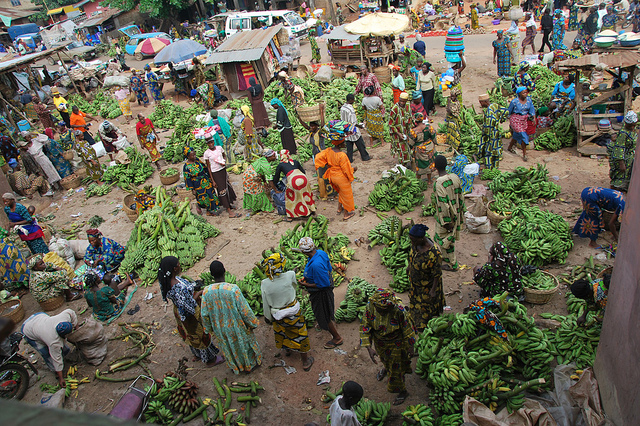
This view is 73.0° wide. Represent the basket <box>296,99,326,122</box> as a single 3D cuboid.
[{"bbox_3d":[-0.236,-3.539,15.137,0.830,0.412,0.915,-2,25,23],"label":"basket"}]

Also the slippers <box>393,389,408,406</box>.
[{"bbox_3d":[1.580,3.628,8.465,0.170,0.145,0.423,-4,11,22],"label":"slippers"}]

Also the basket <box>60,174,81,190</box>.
[{"bbox_3d":[-9.491,-1.214,16.456,0.606,0.355,0.580,-14,39,-16],"label":"basket"}]

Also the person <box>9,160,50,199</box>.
[{"bbox_3d":[-10.738,-1.213,16.069,1.063,1.331,0.912,-24,35,-21],"label":"person"}]

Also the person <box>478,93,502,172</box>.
[{"bbox_3d":[5.024,-2.340,12.683,0.718,2.189,0.736,4,31,21],"label":"person"}]

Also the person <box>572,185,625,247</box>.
[{"bbox_3d":[6.565,0.118,10.138,1.118,1.242,0.873,-6,41,4],"label":"person"}]

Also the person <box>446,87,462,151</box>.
[{"bbox_3d":[4.189,-2.899,13.500,0.418,1.969,0.428,1,31,16],"label":"person"}]

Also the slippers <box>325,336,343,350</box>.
[{"bbox_3d":[0.303,2.843,9.421,0.354,0.117,0.189,-8,34,-11],"label":"slippers"}]

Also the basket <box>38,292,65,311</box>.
[{"bbox_3d":[-7.023,2.378,11.431,0.473,0.417,0.459,6,28,11],"label":"basket"}]

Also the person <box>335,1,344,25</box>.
[{"bbox_3d":[1.498,-15.085,32.678,0.582,1.414,1.509,-5,29,5],"label":"person"}]

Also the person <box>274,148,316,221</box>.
[{"bbox_3d":[-0.713,-0.781,12.297,1.025,1.936,0.566,3,31,19],"label":"person"}]

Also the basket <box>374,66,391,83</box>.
[{"bbox_3d":[2.967,-6.458,20.195,0.788,0.752,0.751,-5,44,4],"label":"basket"}]

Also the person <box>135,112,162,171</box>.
[{"bbox_3d":[-6.424,-2.737,16.221,0.647,2.179,0.985,-19,31,-18],"label":"person"}]

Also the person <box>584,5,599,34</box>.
[{"bbox_3d":[12.419,-8.775,19.762,0.602,0.980,1.189,10,33,30],"label":"person"}]

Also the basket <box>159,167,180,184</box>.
[{"bbox_3d":[-5.280,-1.294,15.244,0.656,0.434,0.507,-25,33,-29],"label":"basket"}]

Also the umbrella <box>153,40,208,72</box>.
[{"bbox_3d":[-6.798,-7.772,20.878,1.947,0.624,1.882,-34,31,-26],"label":"umbrella"}]

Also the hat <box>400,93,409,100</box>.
[{"bbox_3d":[2.487,-3.465,12.795,0.174,0.182,0.248,15,15,34],"label":"hat"}]

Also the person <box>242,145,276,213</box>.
[{"bbox_3d":[-1.894,-0.995,13.482,1.349,2.092,1.017,-14,61,-23],"label":"person"}]

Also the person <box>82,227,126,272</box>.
[{"bbox_3d":[-5.969,0.993,11.855,1.016,1.301,0.484,-24,33,-26],"label":"person"}]

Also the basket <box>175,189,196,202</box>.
[{"bbox_3d":[-4.343,-0.579,13.982,0.501,0.418,0.479,11,53,9],"label":"basket"}]

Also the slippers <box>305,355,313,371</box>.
[{"bbox_3d":[-0.224,3.206,9.203,0.122,0.120,0.290,13,38,24],"label":"slippers"}]

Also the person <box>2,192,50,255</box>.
[{"bbox_3d":[-8.477,0.341,12.389,0.625,1.974,0.536,-24,33,-26],"label":"person"}]

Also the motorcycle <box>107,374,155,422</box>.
[{"bbox_3d":[-3.715,3.869,8.677,0.506,0.516,0.686,10,33,29],"label":"motorcycle"}]

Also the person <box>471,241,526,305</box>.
[{"bbox_3d":[3.866,1.328,9.263,0.666,1.168,0.857,-25,46,-11],"label":"person"}]

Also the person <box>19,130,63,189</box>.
[{"bbox_3d":[-10.248,-1.956,16.182,0.551,2.236,0.659,-5,29,6],"label":"person"}]

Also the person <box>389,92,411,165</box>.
[{"bbox_3d":[2.474,-2.527,13.176,0.676,2.193,0.427,-2,30,12],"label":"person"}]

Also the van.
[{"bbox_3d":[-3.495,-12.565,28.974,5.225,1.770,2.448,-4,28,7],"label":"van"}]

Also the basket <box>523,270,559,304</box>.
[{"bbox_3d":[4.752,1.677,9.387,0.584,0.247,0.635,-18,38,-16],"label":"basket"}]

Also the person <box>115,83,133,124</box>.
[{"bbox_3d":[-9.955,-5.540,21.985,0.504,1.509,1.725,-20,31,-20],"label":"person"}]

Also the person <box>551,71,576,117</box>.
[{"bbox_3d":[8.042,-3.867,14.283,0.670,1.316,0.793,6,32,24],"label":"person"}]

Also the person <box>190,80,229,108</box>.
[{"bbox_3d":[-5.273,-5.614,20.505,1.648,1.089,1.193,-17,26,23],"label":"person"}]

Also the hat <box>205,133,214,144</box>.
[{"bbox_3d":[-3.260,-2.186,12.703,0.205,0.254,0.261,-13,29,-10],"label":"hat"}]

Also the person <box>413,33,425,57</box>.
[{"bbox_3d":[4.644,-7.844,20.174,0.436,0.998,1.900,-1,29,13],"label":"person"}]

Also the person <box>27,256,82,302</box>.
[{"bbox_3d":[-7.181,1.747,11.526,1.109,1.194,0.882,-9,9,-31],"label":"person"}]

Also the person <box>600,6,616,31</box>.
[{"bbox_3d":[14.195,-9.498,21.170,0.590,0.936,1.392,12,34,32],"label":"person"}]

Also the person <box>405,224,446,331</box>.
[{"bbox_3d":[2.239,1.436,9.125,0.927,2.316,0.985,-27,44,-11],"label":"person"}]
